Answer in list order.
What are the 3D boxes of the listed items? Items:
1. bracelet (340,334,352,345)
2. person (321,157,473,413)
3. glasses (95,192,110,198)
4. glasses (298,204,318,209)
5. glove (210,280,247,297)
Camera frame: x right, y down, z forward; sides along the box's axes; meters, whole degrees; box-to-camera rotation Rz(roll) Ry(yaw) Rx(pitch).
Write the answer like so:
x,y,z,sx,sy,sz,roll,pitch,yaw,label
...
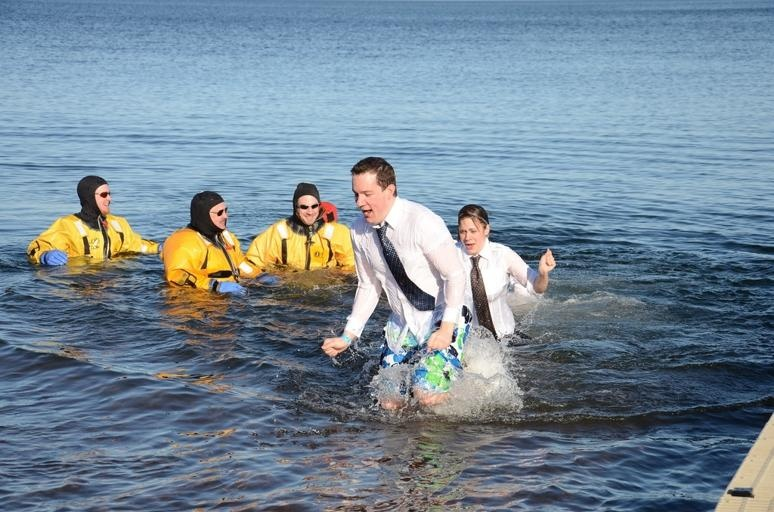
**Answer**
x,y,z,sx,sy,sz,roll,pitch,yaw,label
-0.528,1.120,12.126,0.189,0.094,0.153,3,-23,17,bracelet
0.204,0.416,11.747,1.598,3.417,1.006,5,22,11,person
-5.378,-1.166,17.305,0.053,0.116,0.210,18,23,36,glasses
-1.430,-0.914,16.769,0.368,0.086,0.137,-2,17,-9,glasses
-2.747,0.567,15.883,0.602,0.221,0.222,6,19,17,glove
